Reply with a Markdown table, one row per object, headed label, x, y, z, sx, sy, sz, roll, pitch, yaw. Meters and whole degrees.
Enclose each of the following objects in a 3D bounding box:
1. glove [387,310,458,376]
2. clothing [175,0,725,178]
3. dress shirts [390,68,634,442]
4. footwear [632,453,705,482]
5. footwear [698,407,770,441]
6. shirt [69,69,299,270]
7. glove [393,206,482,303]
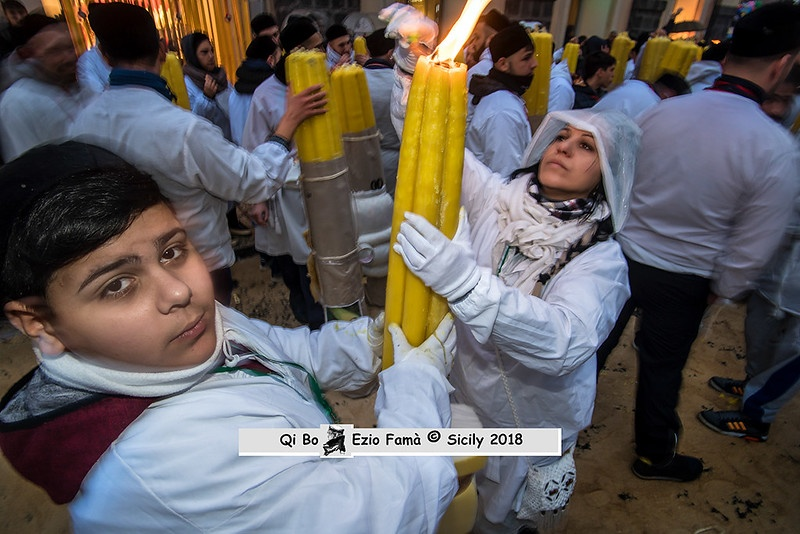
| label | x | y | z | sx | sy | sz | roll | pitch | yaw |
| --- | --- | --- | --- | --- | --- | --- | --- | --- | --- |
| glove | 0.125 | 0.341 | 2.253 | 0.291 | 0.219 | 0.144 | -4 | 53 | -27 |
| clothing | 0.265 | -1.586 | 4.370 | 3.771 | 0.921 | 3.540 | 18 | 39 | 32 |
| dress shirts | 0.491 | 0.446 | 3.055 | 1.314 | 2.823 | 1.046 | 13 | 29 | 19 |
| footwear | 1.869 | 1.416 | 3.560 | 0.520 | 0.245 | 0.198 | -2 | 45 | 4 |
| footwear | 2.539 | 1.199 | 3.813 | 0.345 | 0.174 | 0.134 | 18 | 40 | 19 |
| shirt | -1.249 | -0.513 | 3.200 | 1.059 | 1.302 | 0.582 | -8 | 34 | -16 |
| glove | 0.149 | -0.042 | 2.277 | 0.296 | 0.402 | 0.218 | -39 | 13 | -15 |
